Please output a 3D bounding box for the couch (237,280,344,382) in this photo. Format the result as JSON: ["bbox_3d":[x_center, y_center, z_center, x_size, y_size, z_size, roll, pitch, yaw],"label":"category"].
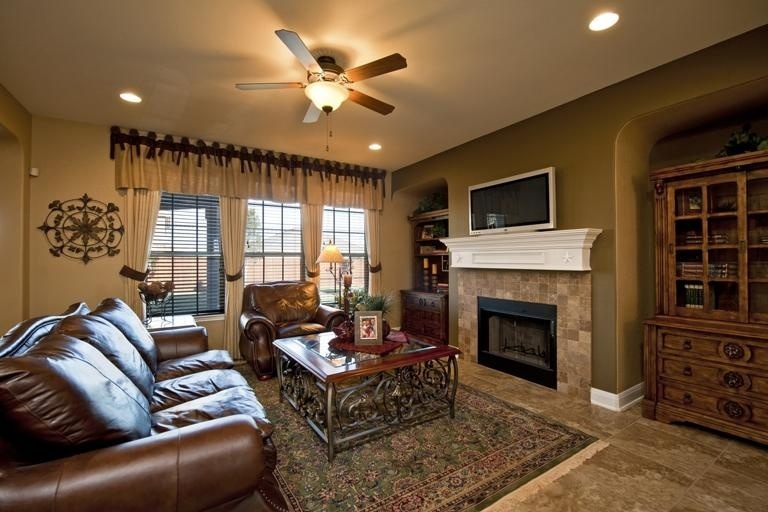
[{"bbox_3d":[-1.245,0.980,6.692,1.479,1.241,1.048,3,-13,-27],"label":"couch"}]

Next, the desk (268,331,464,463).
[{"bbox_3d":[-0.133,1.551,5.627,1.639,0.777,1.820,-4,-11,-32],"label":"desk"}]

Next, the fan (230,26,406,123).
[{"bbox_3d":[-0.493,-1.645,4.779,1.452,0.543,1.304,0,0,13],"label":"fan"}]

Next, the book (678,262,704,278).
[{"bbox_3d":[3.005,0.128,5.082,0.129,0.152,0.226,-5,7,-39],"label":"book"}]

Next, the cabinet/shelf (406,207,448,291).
[{"bbox_3d":[0.790,-0.015,8.171,0.784,1.308,0.314,-4,-7,33],"label":"cabinet/shelf"}]

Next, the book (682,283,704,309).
[{"bbox_3d":[3.039,0.390,5.066,0.194,0.277,0.202,7,-9,-43],"label":"book"}]

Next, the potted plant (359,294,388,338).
[{"bbox_3d":[-0.126,0.804,7.607,0.449,0.619,0.407,1,-10,-8],"label":"potted plant"}]

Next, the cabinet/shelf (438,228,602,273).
[{"bbox_3d":[1.510,-0.054,6.151,1.919,0.464,0.364,-1,13,43],"label":"cabinet/shelf"}]

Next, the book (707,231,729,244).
[{"bbox_3d":[3.213,-0.175,4.972,0.105,0.068,0.141,-2,2,-31],"label":"book"}]

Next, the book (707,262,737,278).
[{"bbox_3d":[3.233,0.138,4.941,0.223,0.124,0.155,9,-9,-13],"label":"book"}]

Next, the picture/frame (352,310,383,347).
[{"bbox_3d":[-0.168,0.736,5.174,0.321,0.389,0.026,3,-10,-4],"label":"picture/frame"}]

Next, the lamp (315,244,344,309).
[{"bbox_3d":[-0.698,0.220,6.539,0.396,0.722,0.380,5,2,-33],"label":"lamp"}]

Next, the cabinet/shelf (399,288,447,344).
[{"bbox_3d":[0.675,0.888,7.879,0.365,0.695,0.966,-4,5,-41],"label":"cabinet/shelf"}]
